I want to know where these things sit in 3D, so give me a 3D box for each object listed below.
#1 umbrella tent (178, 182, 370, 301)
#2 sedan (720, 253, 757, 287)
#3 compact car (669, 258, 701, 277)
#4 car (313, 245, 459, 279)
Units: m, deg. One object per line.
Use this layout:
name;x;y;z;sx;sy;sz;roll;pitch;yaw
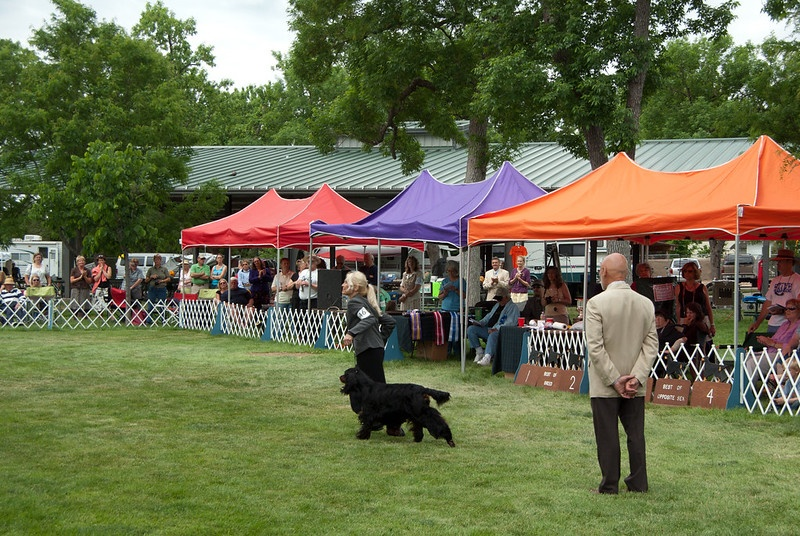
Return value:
umbrella tent;-2.735;-1.217;29.911;4.559;1.959;5.673;4;-2;-36
sedan;13.786;0.124;43.166;1.200;1.000;2.436;0;7;20
compact car;9.319;0.000;34.920;0.663;0.544;1.356;1;6;17
car;-1.096;-0.514;38.988;2.337;0.881;2.195;1;-5;-9
